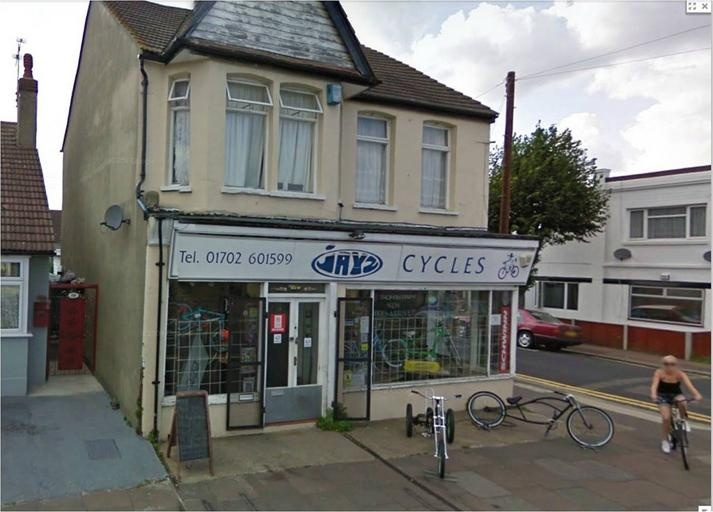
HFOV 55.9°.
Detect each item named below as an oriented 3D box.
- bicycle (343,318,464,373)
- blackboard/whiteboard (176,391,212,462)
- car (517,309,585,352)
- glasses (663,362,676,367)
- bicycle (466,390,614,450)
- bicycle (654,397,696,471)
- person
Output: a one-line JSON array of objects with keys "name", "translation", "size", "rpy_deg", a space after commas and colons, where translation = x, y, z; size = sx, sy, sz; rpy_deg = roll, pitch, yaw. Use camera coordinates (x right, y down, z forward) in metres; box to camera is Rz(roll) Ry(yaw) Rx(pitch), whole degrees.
[{"name": "bicycle", "translation": [1.543, 2.339, 16.938], "size": [2.478, 1.457, 0.354], "rpy_deg": [-2, 14, -22]}, {"name": "blackboard/whiteboard", "translation": [-3.286, 3.411, 13.571], "size": [0.787, 1.382, 0.737], "rpy_deg": [3, 0, -16]}, {"name": "car", "translation": [7.882, 3.181, 27.576], "size": [2.424, 1.376, 1.197], "rpy_deg": [6, 13, 14]}, {"name": "glasses", "translation": [7.184, 2.463, 15.267], "size": [0.204, 0.089, 0.134], "rpy_deg": [5, 13, 8]}, {"name": "bicycle", "translation": [4.590, 3.825, 16.369], "size": [3.779, 1.528, 1.547], "rpy_deg": [4, -31, 25]}, {"name": "bicycle", "translation": [7.220, 3.938, 14.977], "size": [0.596, 0.746, 1.225], "rpy_deg": [-2, -7, 7]}, {"name": "person", "translation": [7.267, 3.206, 15.505], "size": [0.887, 2.488, 1.515], "rpy_deg": [-1, -2, 17]}]
